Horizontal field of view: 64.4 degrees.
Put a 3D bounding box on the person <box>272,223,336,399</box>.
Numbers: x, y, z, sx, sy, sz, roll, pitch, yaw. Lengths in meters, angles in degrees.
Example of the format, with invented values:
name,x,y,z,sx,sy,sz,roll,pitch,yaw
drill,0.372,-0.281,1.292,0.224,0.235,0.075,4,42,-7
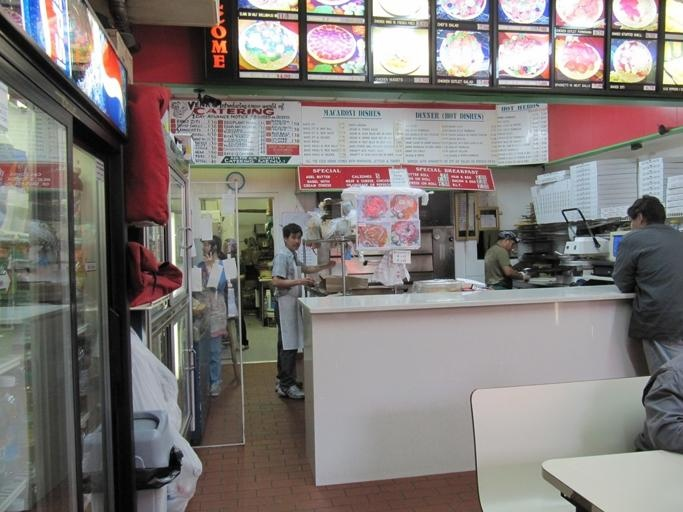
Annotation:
name,x,y,z,sx,sy,sz,roll,pitch,yaw
person,-0.398,0.518,5.253,0.472,1.650,0.792,-1,4,-7

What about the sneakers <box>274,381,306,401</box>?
name,x,y,z,sx,sy,sz,roll,pitch,yaw
sneakers,-0.460,1.293,5.277,0.387,0.192,0.158,-1,2,9

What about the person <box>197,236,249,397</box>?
name,x,y,z,sx,sy,sz,roll,pitch,yaw
person,-0.936,0.488,4.213,0.316,1.267,0.292,-2,4,-12

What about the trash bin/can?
name,x,y,z,sx,sy,sz,roll,pitch,yaw
trash bin/can,-1.003,0.941,2.604,0.422,0.182,0.438,0,-4,-8

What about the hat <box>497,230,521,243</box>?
name,x,y,z,sx,sy,sz,roll,pitch,yaw
hat,1.938,-0.236,6.492,0.220,0.123,0.297,0,5,-7
